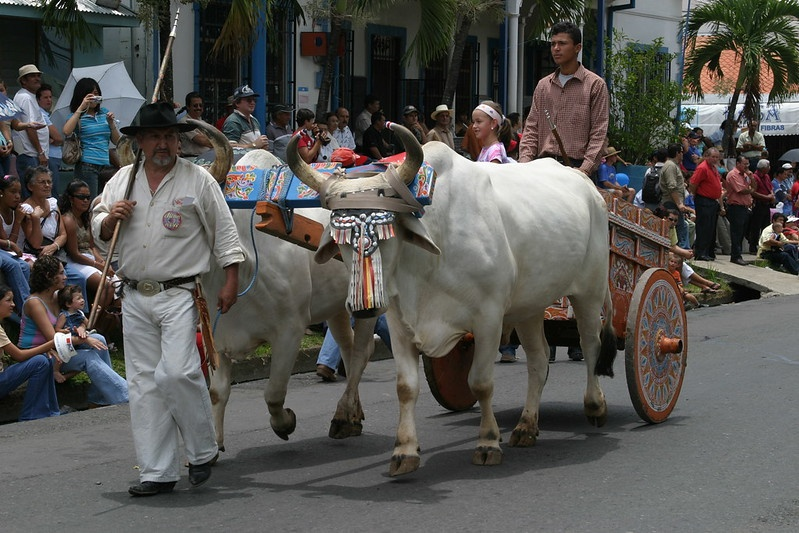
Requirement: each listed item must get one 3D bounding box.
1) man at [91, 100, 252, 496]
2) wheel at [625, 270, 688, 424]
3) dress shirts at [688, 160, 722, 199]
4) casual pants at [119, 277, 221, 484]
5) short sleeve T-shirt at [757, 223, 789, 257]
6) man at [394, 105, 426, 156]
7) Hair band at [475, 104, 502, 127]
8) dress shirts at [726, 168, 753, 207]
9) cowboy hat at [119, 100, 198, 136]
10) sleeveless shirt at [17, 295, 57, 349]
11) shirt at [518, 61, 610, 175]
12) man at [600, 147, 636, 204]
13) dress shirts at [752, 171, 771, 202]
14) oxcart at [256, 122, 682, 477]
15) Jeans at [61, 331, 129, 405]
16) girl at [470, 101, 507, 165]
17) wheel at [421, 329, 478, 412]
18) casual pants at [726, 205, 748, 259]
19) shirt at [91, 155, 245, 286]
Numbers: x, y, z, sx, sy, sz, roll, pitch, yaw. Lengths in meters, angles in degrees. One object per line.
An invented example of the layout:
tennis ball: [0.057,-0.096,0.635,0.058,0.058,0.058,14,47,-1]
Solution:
man: [-2.049,0.294,9.305,1.419,3.317,1.098,-3,-2,9]
wheel: [2.552,0.790,10.849,0.430,1.572,1.566,0,5,33]
dress shirts: [5.999,-1.651,21.015,0.862,0.743,0.468,1,3,-40]
casual pants: [-1.979,0.999,9.284,0.783,1.646,0.433,-1,10,-5]
short sleeve T-shirt: [7.605,-0.507,22.288,0.618,0.680,0.639,-5,-4,36]
man: [0.162,-2.158,18.211,0.457,0.439,1.367,9,51,1]
Hair band: [0.910,-1.504,10.951,0.215,0.078,0.212,31,-2,-32]
dress shirts: [6.974,-1.574,22.267,0.498,0.781,0.644,7,8,44]
cowboy hat: [-2.075,-1.251,9.293,0.626,0.301,0.499,-3,10,-15]
sleeveless shirt: [-4.027,0.604,11.862,0.491,0.736,0.544,0,-1,-9]
shirt: [1.826,-1.583,12.025,0.899,1.235,0.661,5,5,24]
man: [3.815,-1.520,19.170,0.643,1.121,0.566,6,7,35]
dress shirts: [7.717,-1.681,23.123,0.263,0.488,0.488,-1,27,27]
oxcart: [0.851,0.407,10.356,1.247,2.889,5.025,0,-1,37]
Jeans: [-3.318,1.117,11.702,0.661,0.790,0.401,-3,18,22]
girl: [0.927,-1.314,11.072,0.351,0.670,0.388,6,-10,-13]
wheel: [0.516,1.001,10.650,0.177,0.817,0.732,12,28,37]
casual pants: [6.951,-0.699,22.207,0.402,1.130,0.488,-6,-14,37]
shirt: [-1.991,-0.263,9.696,1.752,1.391,0.932,0,-6,9]
